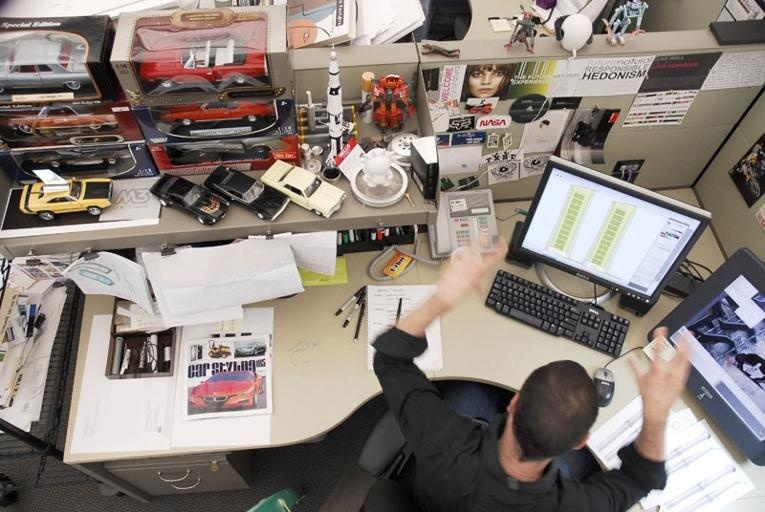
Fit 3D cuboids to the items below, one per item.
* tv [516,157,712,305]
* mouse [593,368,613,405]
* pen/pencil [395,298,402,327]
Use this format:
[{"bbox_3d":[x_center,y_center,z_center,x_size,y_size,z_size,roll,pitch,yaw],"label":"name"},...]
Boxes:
[{"bbox_3d":[0.924,-0.079,2.019,0.650,0.541,0.251,23,65,4],"label":"tv"},{"bbox_3d":[0.894,0.515,2.017,0.098,0.049,0.168,5,82,-9],"label":"mouse"},{"bbox_3d":[0.070,0.244,2.097,0.017,0.006,0.119,5,58,16],"label":"pen/pencil"}]
